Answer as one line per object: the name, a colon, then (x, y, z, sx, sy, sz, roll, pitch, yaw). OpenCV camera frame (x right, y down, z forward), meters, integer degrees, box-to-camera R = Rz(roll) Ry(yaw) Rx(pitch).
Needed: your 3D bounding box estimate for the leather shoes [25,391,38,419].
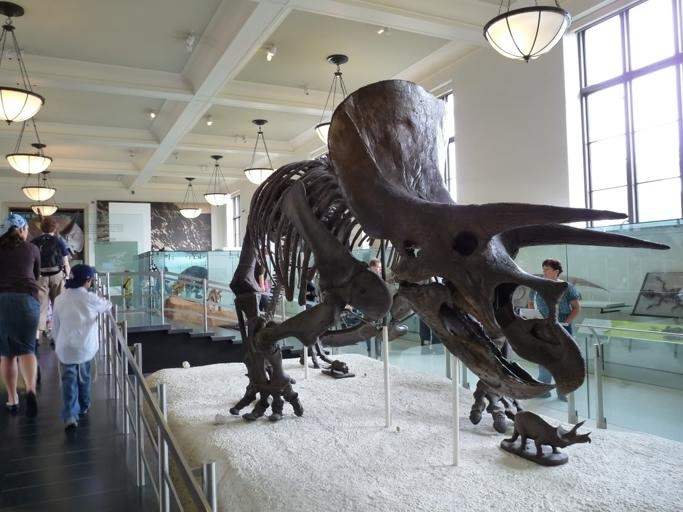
leather shoes: (-2.949, 1.389, 4.839, 0.101, 0.278, 0.112, 2, -2, -6)

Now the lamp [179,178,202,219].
lamp: (-4.829, -1.861, 16.262, 0.649, 1.253, 0.654, -3, 10, -21)

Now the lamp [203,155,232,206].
lamp: (-3.354, -2.045, 13.808, 0.651, 1.330, 0.661, 2, 8, 24)

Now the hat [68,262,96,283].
hat: (-2.405, 0.150, 4.788, 0.184, 0.138, 0.258, 1, 3, -2)

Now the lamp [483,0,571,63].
lamp: (1.980, -2.382, 5.544, 0.740, 0.561, 0.730, -1, 0, -45)

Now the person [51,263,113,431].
person: (-2.395, 0.798, 4.765, 0.496, 1.453, 0.461, -5, 6, -30)

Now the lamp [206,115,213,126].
lamp: (-2.816, -2.894, 10.856, 0.124, 0.130, 0.110, -17, -44, -1)

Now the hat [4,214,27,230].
hat: (-3.094, -0.328, 4.869, 0.136, 0.065, 0.185, -2, -7, 24)
